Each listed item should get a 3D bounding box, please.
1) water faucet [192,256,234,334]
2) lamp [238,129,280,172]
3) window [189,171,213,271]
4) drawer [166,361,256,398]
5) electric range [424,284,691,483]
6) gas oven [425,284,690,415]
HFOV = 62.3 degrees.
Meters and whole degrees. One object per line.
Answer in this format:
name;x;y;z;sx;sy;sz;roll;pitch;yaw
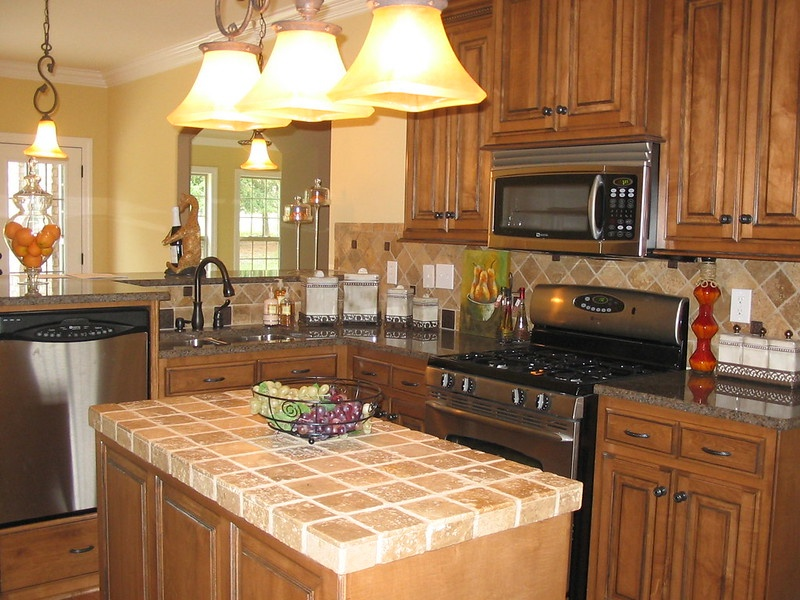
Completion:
water faucet;-1.093;-0.012;3.889;0.246;0.492;0.253;-1;14;-37
lamp;-1.054;-1.152;4.928;0.324;0.337;0.314;-8;23;-29
window;-2.609;-1.021;8.797;0.134;1.503;0.595;19;32;15
drawer;-1.018;0.422;3.560;0.474;0.162;0.029;-1;9;-25
electric range;0.716;0.323;3.284;1.001;0.819;1.297;-6;11;-33
gas oven;0.800;0.190;3.181;0.709;0.522;0.928;-2;5;-31
